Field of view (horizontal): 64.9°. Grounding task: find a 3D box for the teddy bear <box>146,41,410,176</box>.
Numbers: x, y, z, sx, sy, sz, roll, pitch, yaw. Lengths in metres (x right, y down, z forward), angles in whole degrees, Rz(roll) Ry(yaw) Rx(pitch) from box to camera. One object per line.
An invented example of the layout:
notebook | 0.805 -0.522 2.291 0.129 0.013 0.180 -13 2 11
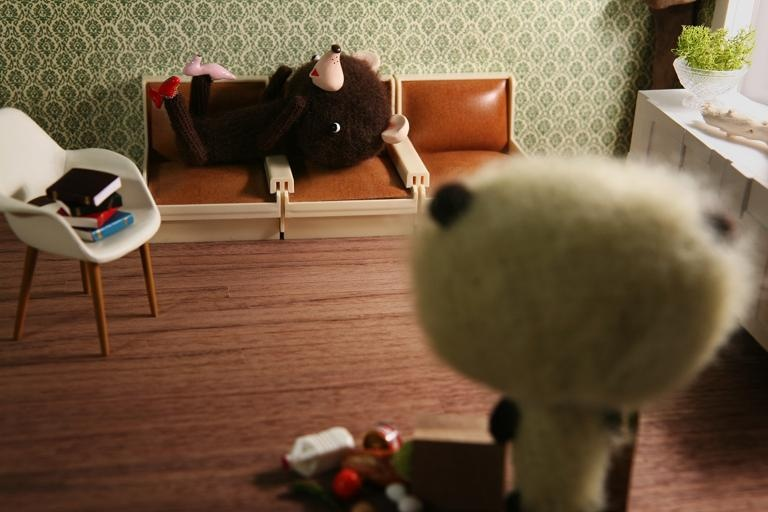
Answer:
teddy bear | -0.558 -0.840 3.673 1.431 0.725 0.723 4 27 -6

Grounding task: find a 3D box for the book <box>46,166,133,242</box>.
book | -1.238 -0.217 2.687 0.339 0.201 0.335 19 31 25
